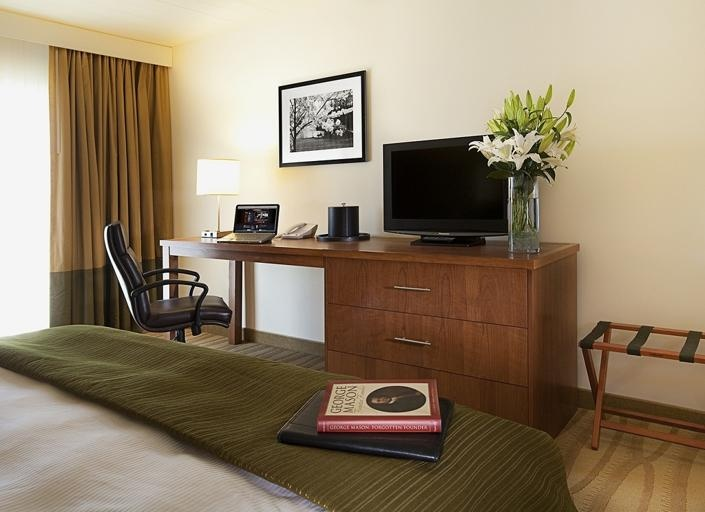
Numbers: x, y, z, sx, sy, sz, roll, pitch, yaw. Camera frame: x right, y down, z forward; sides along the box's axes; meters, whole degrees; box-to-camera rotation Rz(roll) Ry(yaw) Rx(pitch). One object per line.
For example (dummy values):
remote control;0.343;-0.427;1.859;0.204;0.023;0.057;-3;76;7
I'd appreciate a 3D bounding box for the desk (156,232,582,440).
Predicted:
desk;-0.022;0.338;3.100;2.434;0.907;0.801;3;9;30

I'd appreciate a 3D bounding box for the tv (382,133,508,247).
tv;0.574;-0.376;2.852;0.773;0.613;0.281;3;12;34

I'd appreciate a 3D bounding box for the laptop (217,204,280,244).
laptop;-0.729;-0.232;3.296;0.391;0.224;0.295;1;3;20

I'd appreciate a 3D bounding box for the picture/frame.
picture/frame;-0.200;-1.012;3.542;0.843;0.594;0.037;0;0;30

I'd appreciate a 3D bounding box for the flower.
flower;0.833;-0.459;2.404;0.465;0.600;0.419;1;-6;16

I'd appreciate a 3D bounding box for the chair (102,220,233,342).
chair;-1.209;0.291;3.243;0.802;0.982;0.649;0;7;-25
